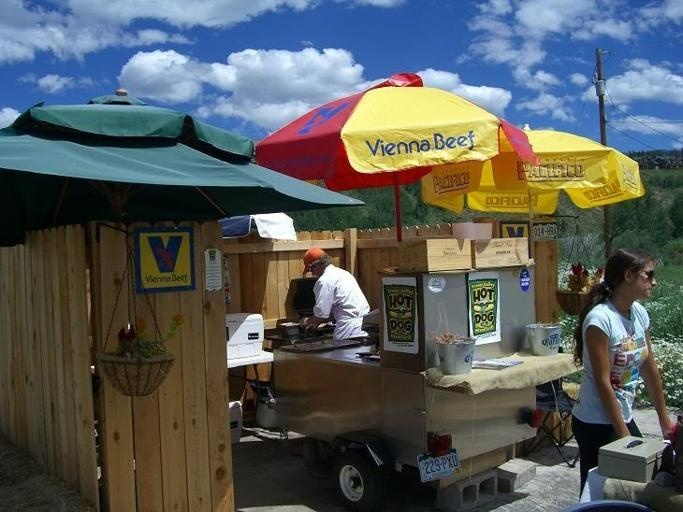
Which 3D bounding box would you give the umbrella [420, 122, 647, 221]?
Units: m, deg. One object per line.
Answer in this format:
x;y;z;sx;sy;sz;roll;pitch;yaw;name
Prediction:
1.920;-0.774;7.416;2.063;0.931;2.158;-2;6;31;umbrella

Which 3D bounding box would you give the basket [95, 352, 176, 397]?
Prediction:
-1.420;0.760;4.677;0.339;0.194;0.335;4;-8;-40;basket

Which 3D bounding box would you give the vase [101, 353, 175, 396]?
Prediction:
-1.437;0.836;4.803;0.473;0.278;0.477;2;-8;-15;vase

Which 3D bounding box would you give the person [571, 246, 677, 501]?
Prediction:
1.849;0.839;4.566;0.631;1.745;0.833;1;4;37;person

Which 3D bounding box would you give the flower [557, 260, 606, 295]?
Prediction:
2.786;0.233;7.737;0.406;0.299;0.352;-8;-1;-19;flower

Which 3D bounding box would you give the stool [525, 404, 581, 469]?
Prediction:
2.165;1.817;7.197;0.674;0.779;0.691;-1;1;20;stool

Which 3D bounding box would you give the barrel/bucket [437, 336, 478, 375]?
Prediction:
0.914;0.779;5.370;0.281;0.225;0.263;-1;-5;0;barrel/bucket

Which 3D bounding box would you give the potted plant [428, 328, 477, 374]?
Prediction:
0.884;0.762;5.383;0.271;0.238;0.302;2;-4;-37;potted plant

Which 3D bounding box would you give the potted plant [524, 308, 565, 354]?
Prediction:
1.763;0.714;6.083;0.272;0.228;0.298;1;-4;-14;potted plant

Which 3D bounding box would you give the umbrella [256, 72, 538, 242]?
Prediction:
0.507;-1.078;6.126;1.930;1.464;1.957;-6;11;-22;umbrella

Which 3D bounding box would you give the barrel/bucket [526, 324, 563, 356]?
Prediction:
1.803;0.743;6.071;0.312;0.265;0.333;-3;2;0;barrel/bucket
